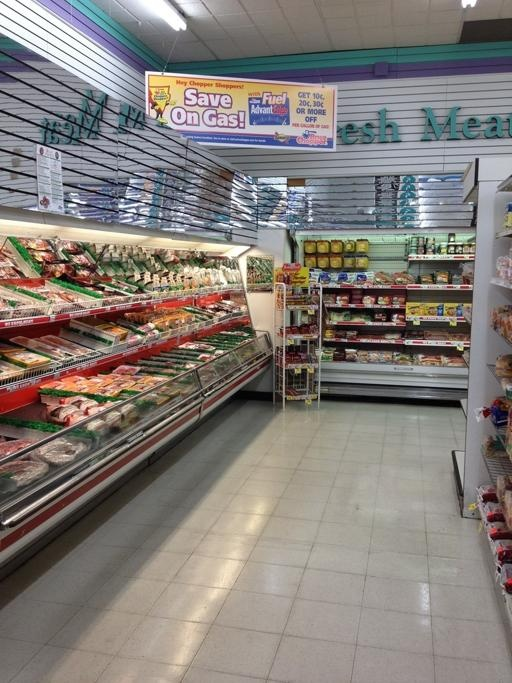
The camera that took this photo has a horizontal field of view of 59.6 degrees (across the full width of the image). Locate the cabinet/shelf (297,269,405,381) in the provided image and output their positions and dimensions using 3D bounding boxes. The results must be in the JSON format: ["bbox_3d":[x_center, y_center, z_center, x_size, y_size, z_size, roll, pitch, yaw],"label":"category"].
[{"bbox_3d":[1.451,-0.270,6.776,2.066,1.624,0.635,0,0,11],"label":"cabinet/shelf"}]

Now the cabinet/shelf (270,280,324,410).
[{"bbox_3d":[0.618,-0.016,6.526,0.561,1.797,0.712,-2,9,-9],"label":"cabinet/shelf"}]

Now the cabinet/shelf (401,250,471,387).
[{"bbox_3d":[2.750,-0.322,6.780,1.163,1.908,0.652,-2,7,8],"label":"cabinet/shelf"}]
